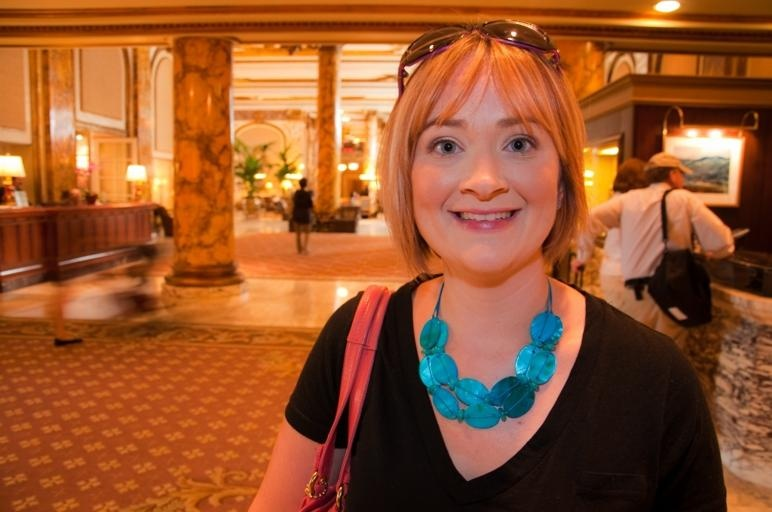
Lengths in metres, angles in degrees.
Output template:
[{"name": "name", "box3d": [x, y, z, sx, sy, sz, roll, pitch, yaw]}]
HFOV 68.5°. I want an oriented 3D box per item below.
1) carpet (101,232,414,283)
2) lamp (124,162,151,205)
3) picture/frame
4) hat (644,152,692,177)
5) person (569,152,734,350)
[{"name": "carpet", "box3d": [-3.052, -0.564, 15.049, 6.426, 0.109, 5.639, -14, 17, -33]}, {"name": "lamp", "box3d": [-6.083, -1.806, 13.893, 0.522, 0.941, 1.806, -5, 15, -24]}, {"name": "picture/frame", "box3d": [3.225, -0.910, 5.768, 1.063, 0.874, 0.100, 0, 6, -2]}, {"name": "hat", "box3d": [2.242, -0.727, 4.454, 0.319, 0.153, 0.216, -1, 4, -13]}, {"name": "person", "box3d": [2.149, 0.170, 4.567, 1.221, 1.921, 0.649, -2, 15, 25]}]
